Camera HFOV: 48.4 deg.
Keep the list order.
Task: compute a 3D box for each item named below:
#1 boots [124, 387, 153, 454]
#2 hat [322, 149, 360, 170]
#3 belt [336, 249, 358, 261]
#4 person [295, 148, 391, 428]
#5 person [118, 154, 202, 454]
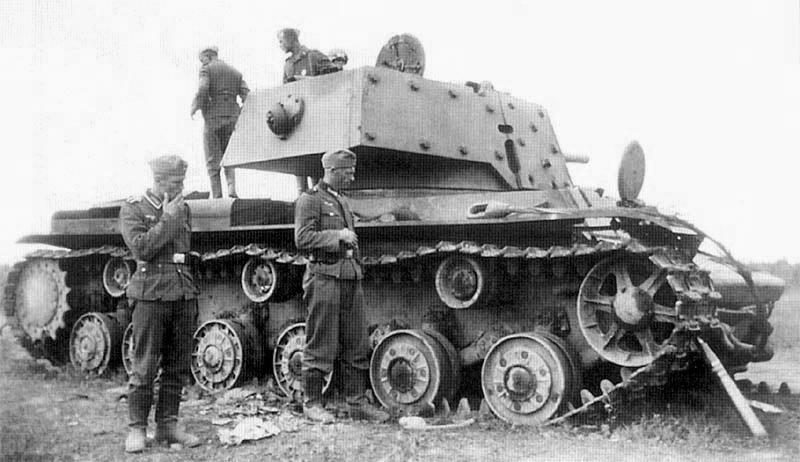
[{"bbox_3d":[-3.081,2.231,10.504,0.336,0.758,0.274,0,-7,-3],"label":"boots"},{"bbox_3d":[-0.718,-0.853,10.837,0.285,0.183,0.260,-4,1,24],"label":"hat"},{"bbox_3d":[-0.633,0.288,10.811,0.264,0.111,0.068,2,-8,-21],"label":"belt"},{"bbox_3d":[-0.756,0.698,10.892,0.989,3.260,0.682,0,-7,-2],"label":"person"},{"bbox_3d":[-2.840,0.869,10.569,0.893,3.455,0.507,2,-8,-17],"label":"person"}]
